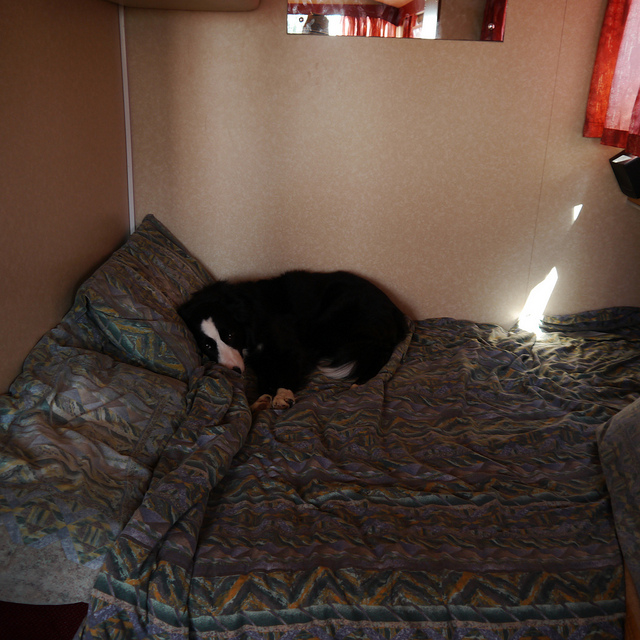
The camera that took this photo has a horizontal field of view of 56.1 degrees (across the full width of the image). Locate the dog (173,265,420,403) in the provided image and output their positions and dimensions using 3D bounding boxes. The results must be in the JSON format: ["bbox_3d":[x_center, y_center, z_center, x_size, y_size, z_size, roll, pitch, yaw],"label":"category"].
[{"bbox_3d":[-0.123,0.002,2.660,1.054,0.331,0.667,-13,33,-29],"label":"dog"}]

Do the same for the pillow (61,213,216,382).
[{"bbox_3d":[-0.607,-0.106,2.322,0.589,0.171,0.703,23,41,-13],"label":"pillow"}]
